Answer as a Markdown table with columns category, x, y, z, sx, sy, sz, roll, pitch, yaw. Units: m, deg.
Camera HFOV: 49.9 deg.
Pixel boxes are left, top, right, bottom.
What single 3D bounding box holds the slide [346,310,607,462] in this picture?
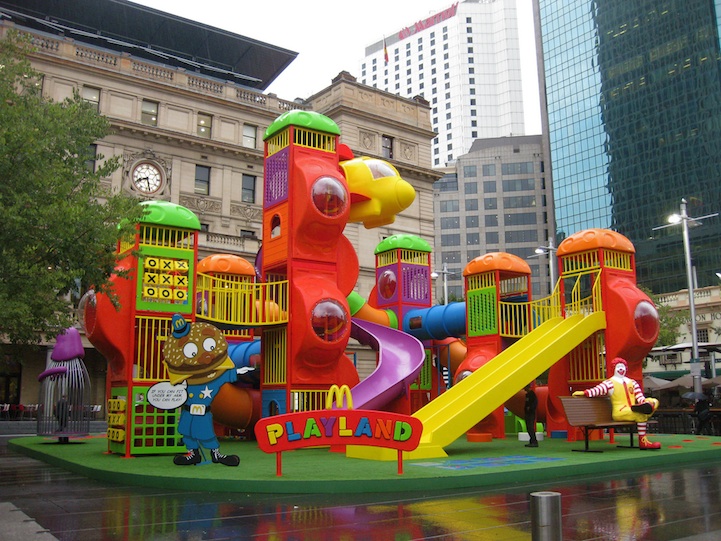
| category | x | y | z | sx | sy | sz | roll | pitch | yaw |
| --- | --- | --- | --- | --- | --- | --- | --- | --- | --- |
| slide | 3.144 | 3.397 | 24.354 | 8.944 | 4.601 | 4.511 | 8 | -13 | -34 |

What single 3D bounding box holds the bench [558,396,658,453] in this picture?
| category | x | y | z | sx | sy | sz | roll | pitch | yaw |
| --- | --- | --- | --- | --- | --- | --- | --- | --- | --- |
| bench | 7.234 | 4.502 | 22.860 | 1.227 | 1.525 | 3.178 | -7 | -12 | 39 |

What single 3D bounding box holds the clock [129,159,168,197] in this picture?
| category | x | y | z | sx | sy | sz | roll | pitch | yaw |
| --- | --- | --- | --- | --- | --- | --- | --- | --- | --- |
| clock | -11.996 | -5.176 | 43.357 | 0.158 | 2.203 | 2.357 | -1 | -3 | 44 |
